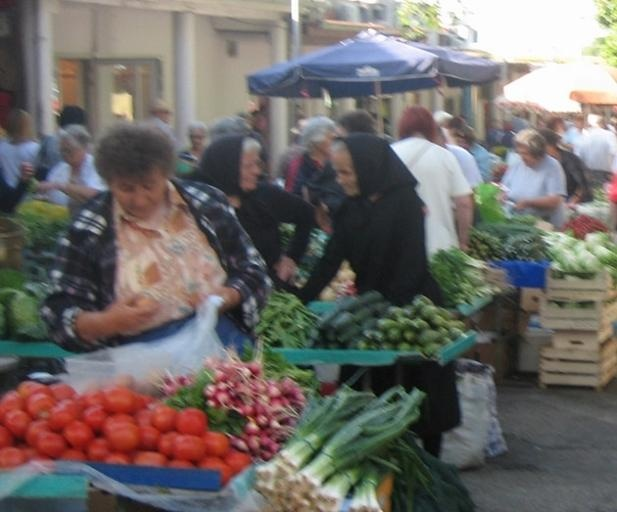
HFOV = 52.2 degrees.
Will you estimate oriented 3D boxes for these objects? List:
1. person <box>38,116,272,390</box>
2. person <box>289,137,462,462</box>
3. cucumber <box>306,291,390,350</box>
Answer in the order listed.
[{"bbox_3d":[-0.733,-0.054,2.956,1.025,1.106,0.251,-1,9,-3],"label":"person"},{"bbox_3d":[0.356,0.141,3.724,0.836,1.609,1.125,4,11,1],"label":"person"},{"bbox_3d":[0.238,0.323,3.238,0.449,0.239,0.213,-9,12,-43],"label":"cucumber"}]
